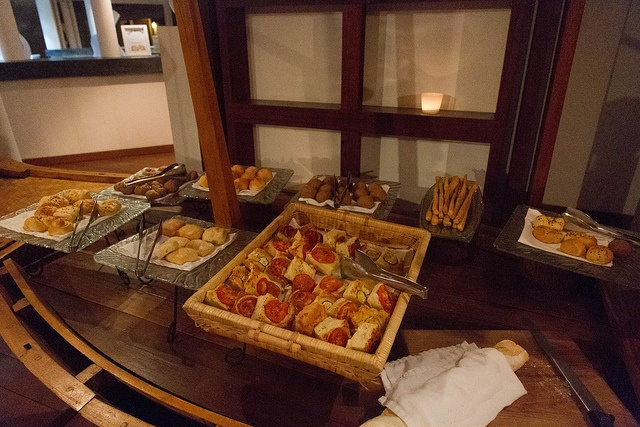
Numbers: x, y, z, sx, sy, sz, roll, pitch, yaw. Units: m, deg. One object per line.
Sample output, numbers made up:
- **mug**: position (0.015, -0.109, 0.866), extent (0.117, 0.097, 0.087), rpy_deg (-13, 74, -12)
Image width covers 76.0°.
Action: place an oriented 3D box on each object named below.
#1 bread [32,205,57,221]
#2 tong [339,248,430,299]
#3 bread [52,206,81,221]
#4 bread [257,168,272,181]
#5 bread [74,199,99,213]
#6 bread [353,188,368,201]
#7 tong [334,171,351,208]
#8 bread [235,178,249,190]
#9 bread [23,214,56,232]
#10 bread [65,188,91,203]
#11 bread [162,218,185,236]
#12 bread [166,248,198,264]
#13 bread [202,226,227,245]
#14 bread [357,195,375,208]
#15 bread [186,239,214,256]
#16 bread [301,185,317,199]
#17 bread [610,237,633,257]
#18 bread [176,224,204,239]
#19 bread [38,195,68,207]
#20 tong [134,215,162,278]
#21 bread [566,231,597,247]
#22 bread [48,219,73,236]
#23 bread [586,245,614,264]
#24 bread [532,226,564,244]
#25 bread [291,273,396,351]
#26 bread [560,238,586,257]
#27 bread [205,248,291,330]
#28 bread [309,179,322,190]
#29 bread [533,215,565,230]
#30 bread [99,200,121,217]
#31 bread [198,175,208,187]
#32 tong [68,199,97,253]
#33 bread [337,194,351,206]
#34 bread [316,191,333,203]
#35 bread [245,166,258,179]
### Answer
- **bread**: position (-0.993, -0.006, 1.474), extent (0.047, 0.019, 0.063), rpy_deg (-1, 31, -11)
- **tong**: position (0.182, 0.178, 1.230), extent (0.261, 0.069, 0.063), rpy_deg (25, 38, 38)
- **bread**: position (-0.906, -0.002, 1.468), extent (0.060, 0.025, 0.076), rpy_deg (-5, 12, -26)
- **bread**: position (-0.238, -0.168, 1.773), extent (0.052, 0.030, 0.052), rpy_deg (15, 28, 30)
- **bread**: position (-0.868, -0.031, 1.528), extent (0.079, 0.023, 0.059), rpy_deg (18, 40, 14)
- **bread**: position (0.159, -0.083, 1.646), extent (0.047, 0.054, 0.047), rpy_deg (21, 44, 29)
- **tong**: position (0.108, -0.096, 1.631), extent (0.049, 0.043, 0.166), rpy_deg (-6, 50, 38)
- **bread**: position (-0.318, -0.128, 1.687), extent (0.041, 0.027, 0.049), rpy_deg (-14, 32, -24)
- **bread**: position (-0.982, 0.036, 1.426), extent (0.063, 0.032, 0.075), rpy_deg (1, 17, -6)
- **bread**: position (-0.952, -0.074, 1.614), extent (0.081, 0.029, 0.057), rpy_deg (12, 32, 9)
- **bread**: position (-0.496, 0.038, 1.393), extent (0.052, 0.031, 0.067), rpy_deg (5, 23, 3)
- **bread**: position (-0.434, 0.131, 1.276), extent (0.058, 0.026, 0.058), rpy_deg (10, 19, 27)
- **bread**: position (-0.346, 0.068, 1.361), extent (0.059, 0.019, 0.061), rpy_deg (13, 36, 12)
- **bread**: position (0.175, -0.045, 1.572), extent (0.049, 0.056, 0.049), rpy_deg (-5, -4, 6)
- **bread**: position (-0.383, 0.106, 1.313), extent (0.073, 0.024, 0.045), rpy_deg (20, 31, 28)
- **bread**: position (-0.047, -0.086, 1.648), extent (0.046, 0.031, 0.056), rpy_deg (-1, 27, -10)
- **bread**: position (0.919, 0.104, 1.261), extent (0.054, 0.027, 0.053), rpy_deg (-7, 33, -3)
- **bread**: position (-0.435, 0.058, 1.364), extent (0.053, 0.024, 0.049), rpy_deg (9, 22, 15)
- **bread**: position (-1.004, -0.049, 1.552), extent (0.071, 0.025, 0.056), rpy_deg (2, 22, -5)
- **tong**: position (-0.560, 0.105, 1.329), extent (0.065, 0.052, 0.231), rpy_deg (-1, 53, 4)
- **bread**: position (0.840, 0.078, 1.309), extent (0.062, 0.022, 0.059), rpy_deg (-7, 19, -13)
- **bread**: position (-0.890, 0.047, 1.407), extent (0.062, 0.035, 0.060), rpy_deg (-17, 26, -38)
- **bread**: position (0.848, 0.126, 1.229), extent (0.055, 0.019, 0.059), rpy_deg (-8, 33, 9)
- **bread**: position (0.746, 0.063, 1.331), extent (0.067, 0.020, 0.058), rpy_deg (9, 31, 26)
- **bread**: position (0.077, 0.273, 1.136), extent (0.214, 0.101, 0.220), rpy_deg (13, 29, 25)
- **bread**: position (0.788, 0.108, 1.277), extent (0.061, 0.037, 0.055), rpy_deg (20, 29, 32)
- **bread**: position (-0.181, 0.203, 1.136), extent (0.177, 0.049, 0.176), rpy_deg (18, 39, 21)
- **bread**: position (-0.023, -0.123, 1.715), extent (0.040, 0.026, 0.048), rpy_deg (3, 15, 13)
- **bread**: position (0.778, 0.027, 1.384), extent (0.070, 0.027, 0.054), rpy_deg (15, 33, 42)
- **bread**: position (-0.774, -0.016, 1.509), extent (0.056, 0.067, 0.024), rpy_deg (-27, 51, 13)
- **bread**: position (-0.485, -0.133, 1.695), extent (0.038, 0.025, 0.045), rpy_deg (18, 44, 24)
- **tong**: position (-0.824, 0.034, 1.443), extent (0.068, 0.027, 0.227), rpy_deg (-4, 41, -8)
- **bread**: position (0.092, -0.052, 1.607), extent (0.050, 0.018, 0.039), rpy_deg (-23, 45, 36)
- **bread**: position (0.011, -0.070, 1.627), extent (0.047, 0.025, 0.046), rpy_deg (0, 27, 3)
- **bread**: position (-0.307, -0.181, 1.777), extent (0.051, 0.018, 0.055), rpy_deg (1, 28, 0)
